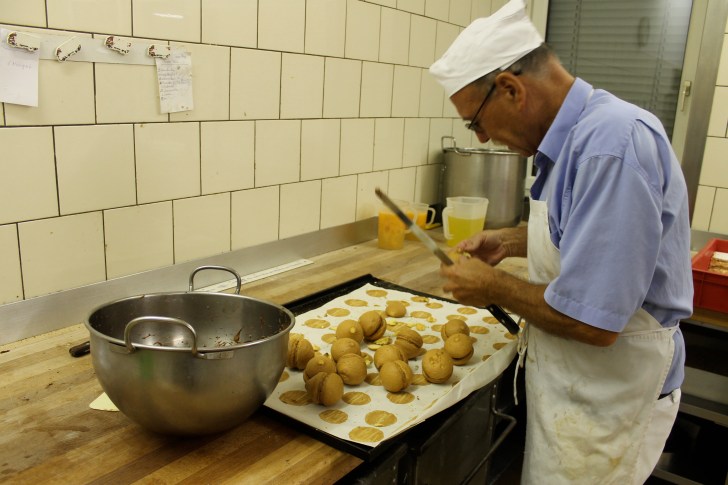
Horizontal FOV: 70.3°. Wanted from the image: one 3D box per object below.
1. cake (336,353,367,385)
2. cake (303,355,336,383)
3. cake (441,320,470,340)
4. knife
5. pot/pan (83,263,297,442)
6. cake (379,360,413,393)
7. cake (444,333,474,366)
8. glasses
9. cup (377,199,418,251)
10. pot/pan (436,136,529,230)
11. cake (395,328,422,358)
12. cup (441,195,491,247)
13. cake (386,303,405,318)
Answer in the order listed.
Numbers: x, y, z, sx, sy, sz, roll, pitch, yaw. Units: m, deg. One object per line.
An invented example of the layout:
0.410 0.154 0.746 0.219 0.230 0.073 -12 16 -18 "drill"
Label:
-0.032 0.335 1.382 0.082 0.060 0.074 25 42 -17 "cake"
-0.112 0.310 1.316 0.069 0.041 0.069 7 13 37 "cake"
0.266 0.252 1.521 0.071 0.056 0.055 -11 21 31 "cake"
0.276 0.071 1.824 0.065 0.734 0.080 -45 0 -20 "knife"
-0.371 0.251 1.184 0.420 0.254 0.450 8 9 16 "pot/pan"
0.081 0.339 1.310 0.086 0.066 0.068 5 1 13 "cake"
0.264 0.291 1.476 0.088 0.073 0.082 -12 39 16 "cake"
0.315 -0.350 1.288 0.123 0.117 0.035 -14 27 -27 "glasses"
0.185 -0.054 2.266 0.230 0.201 0.139 4 7 23 "cup"
0.568 -0.344 2.685 0.522 0.422 0.448 -5 14 -25 "pot/pan"
0.128 0.280 1.450 0.072 0.064 0.087 -10 9 -26 "cake"
0.453 -0.103 2.412 0.251 0.219 0.213 -13 25 -28 "cup"
0.103 0.216 1.658 0.051 0.024 0.048 2 20 7 "cake"
